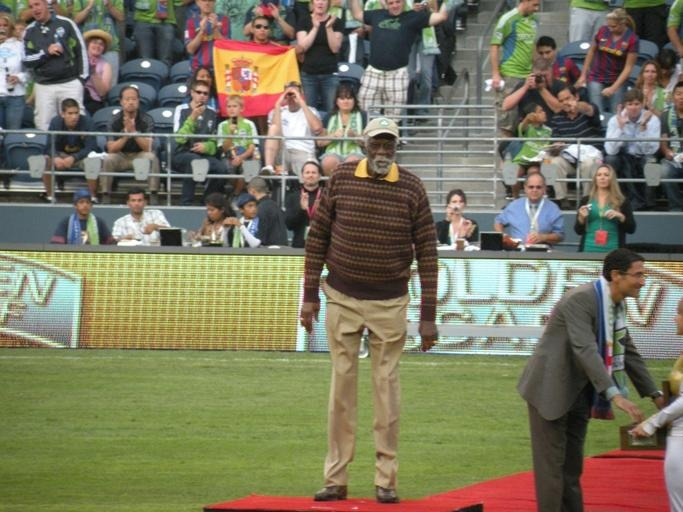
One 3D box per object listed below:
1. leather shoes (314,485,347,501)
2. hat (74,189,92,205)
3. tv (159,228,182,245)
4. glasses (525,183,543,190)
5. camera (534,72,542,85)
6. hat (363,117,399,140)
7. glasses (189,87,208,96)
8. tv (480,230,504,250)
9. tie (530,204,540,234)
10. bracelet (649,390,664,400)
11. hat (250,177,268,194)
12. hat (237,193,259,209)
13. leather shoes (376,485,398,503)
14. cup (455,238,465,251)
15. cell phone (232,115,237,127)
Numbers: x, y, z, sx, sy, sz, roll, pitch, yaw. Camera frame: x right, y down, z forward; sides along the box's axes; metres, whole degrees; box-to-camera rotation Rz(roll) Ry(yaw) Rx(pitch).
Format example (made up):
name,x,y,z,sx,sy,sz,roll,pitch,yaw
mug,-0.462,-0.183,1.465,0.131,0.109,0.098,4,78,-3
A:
name,x,y,z,sx,sy,sz,roll,pitch,yaw
leather shoes,-0.114,2.838,24.560,0.416,0.206,0.157,4,-5,-9
hat,-3.907,-0.888,30.482,0.195,0.213,0.264,2,-13,-12
tv,-2.517,-0.275,29.747,0.358,0.261,0.252,1,4,5
glasses,2.915,-1.022,30.557,0.254,0.109,0.135,2,5,16
camera,3.163,-2.798,32.356,0.116,0.147,0.061,2,5,16
hat,0.489,-1.543,24.756,0.416,0.262,0.242,1,4,-4
glasses,-2.313,-2.657,32.963,0.260,0.152,0.117,0,4,-11
tv,2.205,-0.215,29.707,0.324,0.270,0.238,1,4,1
tie,2.942,-0.575,30.525,0.139,0.393,0.133,1,4,1
bracelet,3.818,1.642,24.460,0.134,0.088,0.126,-33,-31,28
hat,-1.247,-1.054,30.854,0.239,0.250,0.215,24,32,32
hat,-1.423,-0.822,30.389,0.244,0.154,0.183,5,1,11
leather shoes,0.560,2.842,24.538,0.276,0.181,0.318,1,4,0
cup,1.759,-0.166,29.873,0.152,0.225,0.145,0,-7,0
cell phone,-1.766,-2.198,33.184,0.125,0.228,0.124,-2,-2,-7
